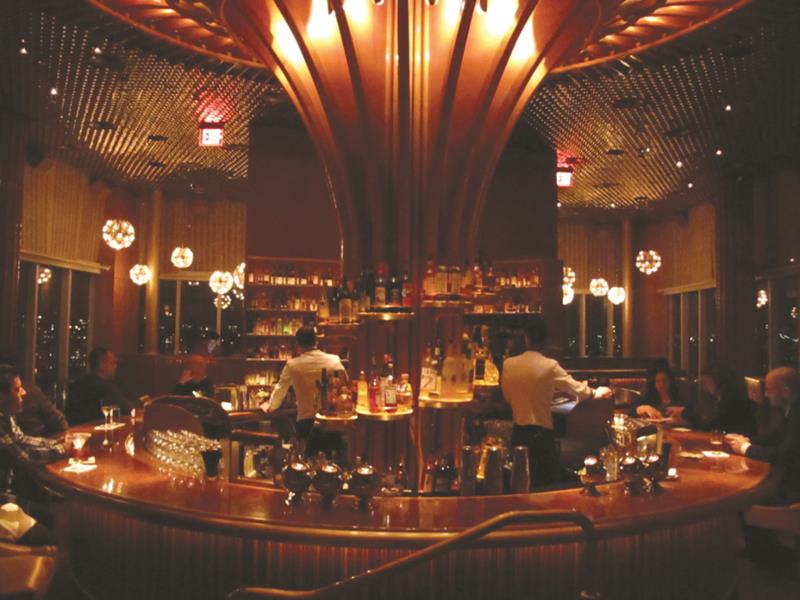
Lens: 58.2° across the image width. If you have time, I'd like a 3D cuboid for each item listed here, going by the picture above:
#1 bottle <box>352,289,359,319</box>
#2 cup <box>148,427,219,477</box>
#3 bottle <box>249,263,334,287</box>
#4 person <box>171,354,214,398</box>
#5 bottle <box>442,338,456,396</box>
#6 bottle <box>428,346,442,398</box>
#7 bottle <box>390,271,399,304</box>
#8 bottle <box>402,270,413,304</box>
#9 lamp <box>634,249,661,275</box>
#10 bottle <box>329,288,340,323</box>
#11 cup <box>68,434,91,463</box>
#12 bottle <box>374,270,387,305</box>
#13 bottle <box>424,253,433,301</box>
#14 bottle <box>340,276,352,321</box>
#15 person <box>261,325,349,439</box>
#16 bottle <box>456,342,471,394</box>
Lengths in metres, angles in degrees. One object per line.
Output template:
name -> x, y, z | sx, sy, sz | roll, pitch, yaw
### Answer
bottle -> -0.348, 0.036, 5.595 | 0.061, 0.215, 0.194 | -1, -5, -4
cup -> -1.581, 1.092, 5.331 | 0.459, 0.363, 0.179 | 15, 27, 27
bottle -> -1.751, -0.392, 11.164 | 1.227, 0.371, 0.253 | -2, -5, 2
person -> -2.260, 0.830, 7.950 | 0.350, 0.468, 0.766 | 1, -6, -25
bottle -> 0.368, 0.524, 5.465 | 0.109, 0.399, 0.152 | -2, -5, 4
bottle -> 0.269, 0.547, 5.585 | 0.101, 0.355, 0.246 | -1, -5, 2
bottle -> -0.037, -0.067, 5.468 | 0.069, 0.201, 0.086 | -3, -5, 18
bottle -> 0.049, -0.090, 5.552 | 0.094, 0.268, 0.172 | -1, -5, 0
lamp -> 5.550, -0.858, 16.196 | 0.617, 0.690, 0.672 | 2, 0, -9
bottle -> -0.527, 0.038, 5.733 | 0.092, 0.274, 0.184 | -1, -5, -6
cup -> -2.442, 1.124, 5.526 | 0.187, 0.238, 0.193 | 0, -2, 0
bottle -> -0.147, -0.109, 5.558 | 0.098, 0.305, 0.153 | -1, -5, 0
bottle -> 0.224, -0.179, 5.646 | 0.091, 0.344, 0.241 | -2, -5, 3
bottle -> -0.442, 0.004, 5.678 | 0.092, 0.334, 0.176 | 1, -6, -25
person -> -0.957, 0.833, 7.288 | 0.972, 1.719, 0.536 | -1, 9, -9
bottle -> 0.518, 0.531, 5.663 | 0.101, 0.394, 0.376 | -2, -5, 7
